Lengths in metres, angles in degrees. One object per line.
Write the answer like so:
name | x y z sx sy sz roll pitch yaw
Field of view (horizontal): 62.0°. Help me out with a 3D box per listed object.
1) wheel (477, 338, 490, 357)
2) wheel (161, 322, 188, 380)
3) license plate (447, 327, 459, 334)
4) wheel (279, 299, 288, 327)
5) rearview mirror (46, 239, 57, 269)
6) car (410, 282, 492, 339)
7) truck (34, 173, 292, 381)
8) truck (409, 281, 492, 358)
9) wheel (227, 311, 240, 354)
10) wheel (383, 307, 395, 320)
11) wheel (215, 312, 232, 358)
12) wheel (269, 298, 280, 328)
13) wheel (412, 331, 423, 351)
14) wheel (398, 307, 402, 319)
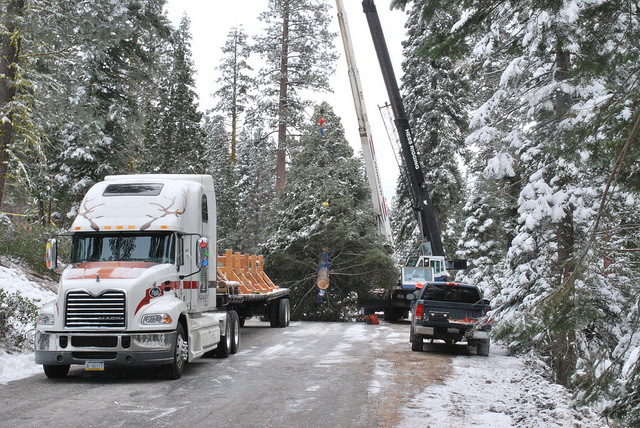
wheel | 5.597 4.520 18.257 0.255 0.796 0.736 1 -4 6
wheel | -3.874 3.496 13.808 0.589 1.442 1.199 -2 -5 -4
license plate | 4.519 3.920 18.082 0.228 0.230 0.057 5 -2 11
wheel | -1.807 4.793 26.117 0.308 1.318 0.905 1 -3 5
rearview mirror | -6.932 1.002 13.704 0.209 0.754 0.182 1 -2 -13
car | 4.951 3.375 19.317 2.466 1.870 1.855 0 -5 29
truck | -4.370 2.215 17.344 2.799 4.079 9.121 -1 -9 8
truck | 4.421 3.512 17.418 1.898 1.746 3.571 3 -4 3
wheel | -2.889 3.870 17.493 0.302 1.080 1.036 -2 -21 10
wheel | 3.946 5.644 30.495 0.652 0.828 1.198 1 -4 7
wheel | -3.050 3.827 17.019 0.381 1.324 0.943 0 -3 15
wheel | -2.224 4.730 25.736 0.466 1.333 0.433 1 -2 0
wheel | 3.386 4.376 18.468 0.242 0.752 0.696 1 -4 4
wheel | 4.548 5.552 30.239 0.231 0.687 1.276 1 -4 10
